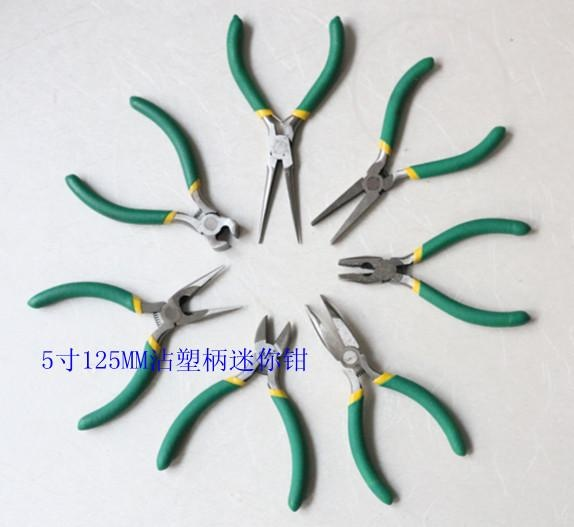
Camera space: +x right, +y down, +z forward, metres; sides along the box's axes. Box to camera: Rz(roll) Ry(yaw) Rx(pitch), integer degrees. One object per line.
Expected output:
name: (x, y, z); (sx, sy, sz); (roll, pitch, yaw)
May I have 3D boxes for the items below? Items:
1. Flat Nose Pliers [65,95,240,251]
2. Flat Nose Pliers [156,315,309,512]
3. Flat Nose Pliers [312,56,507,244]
Flat Nose Pliers: (-0.301, -0.232, 1.530); (0.435, 0.267, 0.233); (11, 32, 2)
Flat Nose Pliers: (-0.085, 0.327, 1.466); (0.346, 0.325, 0.272); (13, 32, 7)
Flat Nose Pliers: (0.282, -0.268, 1.542); (0.321, 0.536, 0.055); (48, 6, 4)
